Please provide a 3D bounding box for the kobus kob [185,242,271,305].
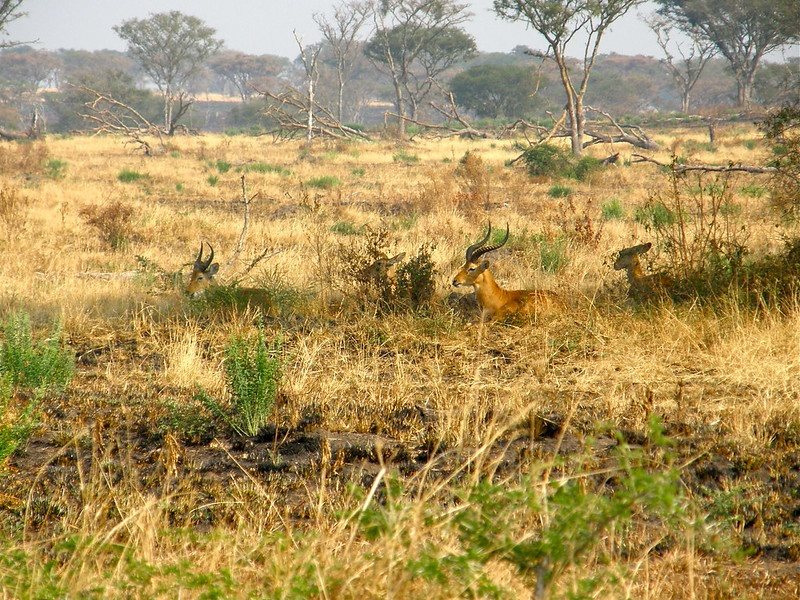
[{"bbox_3d":[-2.355,-0.328,16.003,1.198,0.791,0.653,5,6,27],"label":"kobus kob"}]
